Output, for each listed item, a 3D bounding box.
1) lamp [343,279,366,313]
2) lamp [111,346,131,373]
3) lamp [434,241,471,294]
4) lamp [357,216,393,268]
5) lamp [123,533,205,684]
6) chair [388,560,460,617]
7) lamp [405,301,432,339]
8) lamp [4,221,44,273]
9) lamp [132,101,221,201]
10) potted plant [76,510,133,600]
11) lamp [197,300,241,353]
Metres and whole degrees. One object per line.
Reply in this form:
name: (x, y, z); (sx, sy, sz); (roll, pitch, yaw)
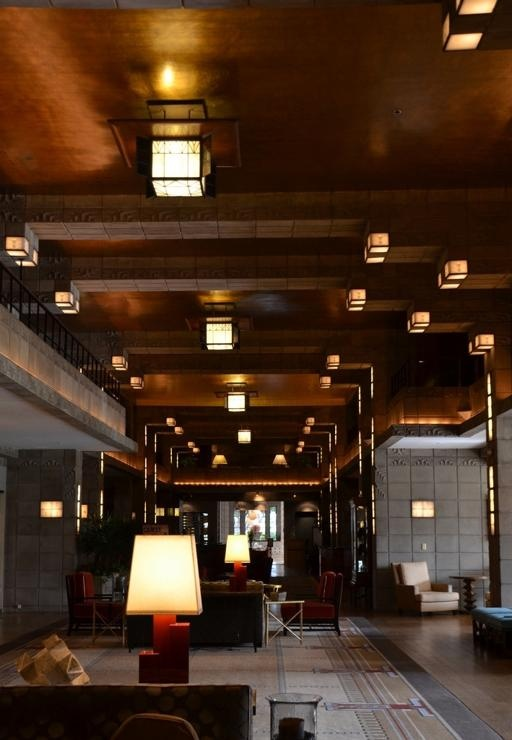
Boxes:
lamp: (1.390, -0.972, 10.082); (0.354, 0.618, 0.646); (1, -13, 7)
lamp: (-2.807, -0.235, 14.437); (0.324, 0.439, 0.878); (3, -3, -13)
lamp: (2.294, -1.194, 8.251); (0.252, 0.376, 0.535); (2, -3, 3)
lamp: (1.323, -1.365, 7.948); (0.368, 0.485, 0.708); (0, -16, 6)
lamp: (-0.380, 0.971, 2.866); (0.296, 0.618, 0.374); (2, -3, -6)
chair: (3.453, 4.452, 14.540); (0.967, 1.110, 1.247); (3, -25, -7)
lamp: (2.426, -0.736, 10.374); (0.395, 0.491, 0.723); (0, -13, 3)
lamp: (-2.715, -1.431, 8.107); (0.325, 0.381, 0.491); (2, -3, -7)
lamp: (-0.715, -1.760, 6.057); (0.852, 0.767, 0.750); (0, -10, 0)
potted plant: (-3.047, 3.874, 14.464); (1.637, 1.925, 1.826); (1, -7, -9)
lamp: (-0.594, -0.695, 11.369); (0.839, 1.077, 0.841); (0, -15, -1)
